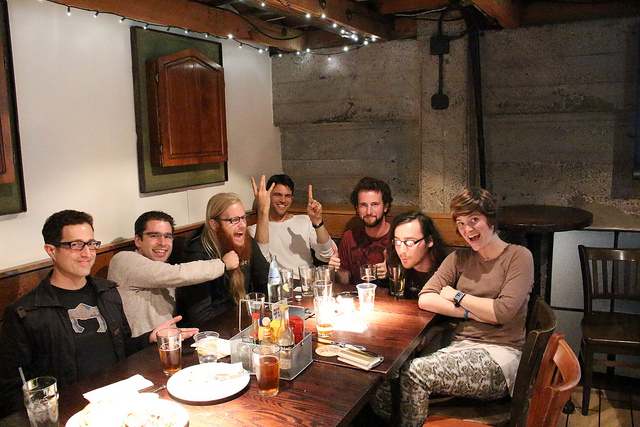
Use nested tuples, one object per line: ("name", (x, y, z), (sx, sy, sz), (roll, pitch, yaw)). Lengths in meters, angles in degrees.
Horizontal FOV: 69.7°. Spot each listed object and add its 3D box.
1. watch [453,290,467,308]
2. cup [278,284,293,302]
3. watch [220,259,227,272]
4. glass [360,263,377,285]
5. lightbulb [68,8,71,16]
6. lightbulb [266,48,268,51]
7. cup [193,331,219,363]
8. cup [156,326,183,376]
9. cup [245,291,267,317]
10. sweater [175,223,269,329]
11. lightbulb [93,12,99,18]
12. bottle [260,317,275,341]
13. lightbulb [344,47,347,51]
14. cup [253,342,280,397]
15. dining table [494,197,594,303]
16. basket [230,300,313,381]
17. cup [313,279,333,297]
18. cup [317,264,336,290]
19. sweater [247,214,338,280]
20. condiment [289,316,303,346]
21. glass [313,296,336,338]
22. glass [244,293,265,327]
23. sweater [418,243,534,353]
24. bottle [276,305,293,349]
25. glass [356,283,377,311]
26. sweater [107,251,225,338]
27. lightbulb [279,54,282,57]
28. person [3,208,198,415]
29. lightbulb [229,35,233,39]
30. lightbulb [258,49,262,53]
("watch", (1.005, 0.632, 3.322), (0.072, 0.106, 0.109), (32, 59, 14))
("cup", (-0.253, 0.582, 3.379), (0.127, 0.187, 0.123), (0, 2, 0))
("watch", (-0.750, 0.400, 3.543), (0.029, 0.095, 0.101), (0, 4, -12))
("glass", (0.380, 0.479, 3.632), (0.146, 0.149, 0.159), (-1, 4, 0))
("lightbulb", (-2.003, -1.613, 3.661), (0.020, 0.054, 0.031), (-9, 10, -29))
("lightbulb", (-0.662, -2.032, 5.661), (0.033, 0.029, 0.030), (4, 20, 3))
("cup", (-0.631, 0.754, 2.621), (0.165, 0.139, 0.160), (-4, -5, 0))
("cup", (-0.841, 0.775, 2.587), (0.121, 0.254, 0.111), (-4, 9, 1))
("cup", (-0.402, 0.566, 2.918), (0.168, 0.164, 0.169), (0, -1, 0))
("sweater", (-0.862, 0.577, 3.997), (0.594, 0.809, 1.086), (-4, -8, 30))
("lightbulb", (-1.865, -1.660, 3.829), (0.026, 0.040, 0.035), (-1, 9, 23))
("bottle", (-0.297, 0.646, 2.547), (0.081, 0.150, 0.044), (-5, 9, -8))
("lightbulb", (0.306, -1.964, 5.470), (0.033, 0.036, 0.014), (-3, 9, 9))
("cup", (-0.275, 0.822, 2.416), (0.136, 0.270, 0.111), (-5, 9, -9))
("dining table", (2.010, 0.353, 4.061), (0.803, 0.831, 0.750), (-21, 22, -38))
("basket", (-0.293, 0.647, 2.726), (0.504, 0.459, 0.382), (2, 7, 22))
("cup", (0.022, 0.538, 3.315), (0.121, 0.110, 0.104), (1, 5, 17))
("cup", (0.048, 0.495, 3.595), (0.190, 0.285, 0.185), (0, 3, 0))
("sweater", (-0.227, 0.469, 4.754), (0.744, 0.908, 0.502), (-10, -19, -18))
("condiment", (-0.149, 0.693, 2.671), (0.119, 0.127, 0.115), (-1, 3, -8))
("glass", (0.031, 0.654, 3.038), (0.139, 0.236, 0.339), (-4, 8, -1))
("glass", (-0.384, 0.621, 2.879), (0.111, 0.156, 0.110), (3, -18, -23))
("sweater", (1.131, 0.628, 3.301), (0.555, 0.860, 0.745), (20, -15, -38))
("bottle", (-0.209, 0.629, 2.604), (0.096, 0.218, 0.274), (-5, 8, -5))
("glass", (0.332, 0.590, 3.279), (0.175, 0.163, 0.170), (-1, -2, -3))
("sweater", (-1.241, 0.625, 3.739), (0.838, 0.873, 0.534), (5, 28, 1))
("lightbulb", (-0.497, -1.976, 5.741), (0.041, 0.025, 0.035), (-1, 8, 18))
("person", (-1.456, 0.648, 2.980), (0.880, 1.445, 1.006), (-8, 5, 23))
("lightbulb", (-0.905, -1.791, 4.649), (0.032, 0.031, 0.032), (25, -5, -2))
("lightbulb", (-0.724, -1.976, 5.565), (0.038, 0.033, 0.037), (3, 21, 0))
